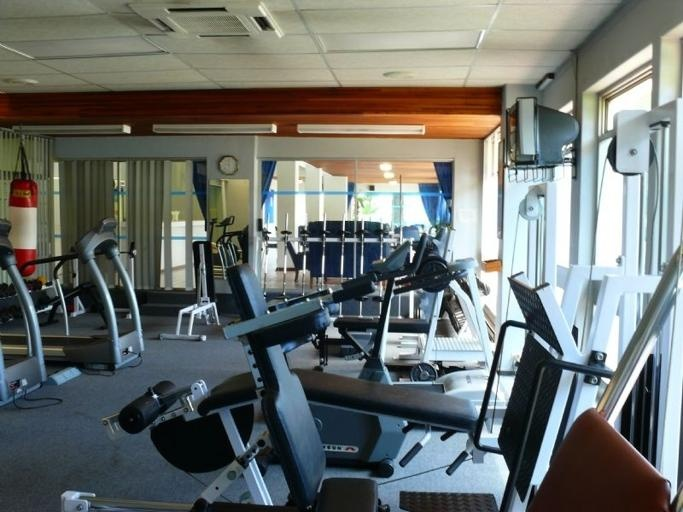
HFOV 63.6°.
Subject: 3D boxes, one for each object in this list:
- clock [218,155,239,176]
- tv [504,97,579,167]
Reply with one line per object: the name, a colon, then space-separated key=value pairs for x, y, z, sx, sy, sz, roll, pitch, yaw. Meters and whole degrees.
clock: x=-1.832 y=-1.465 z=8.877 sx=0.342 sy=0.320 sz=0.088 roll=2 pitch=9 yaw=16
tv: x=1.491 y=-1.038 z=4.514 sx=0.650 sy=0.509 sz=0.605 roll=0 pitch=0 yaw=-5
